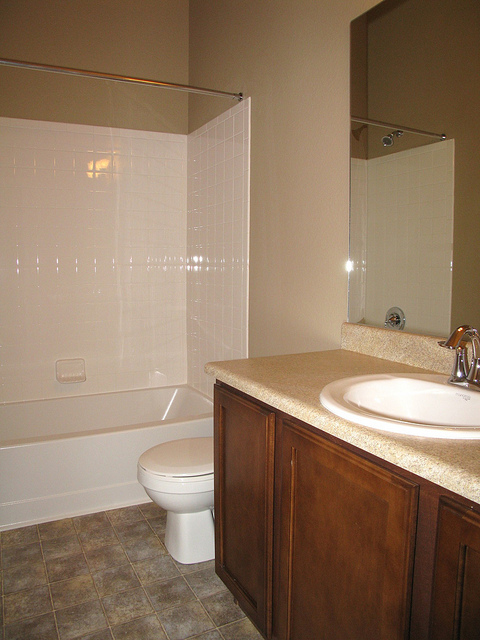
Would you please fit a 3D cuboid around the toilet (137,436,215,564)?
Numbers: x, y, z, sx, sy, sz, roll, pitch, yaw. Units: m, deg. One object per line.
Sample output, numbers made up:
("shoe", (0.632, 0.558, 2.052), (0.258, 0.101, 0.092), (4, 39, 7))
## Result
("toilet", (-0.202, 0.661, 1.795), (0.333, 0.423, 0.308), (0, -1, -31))
